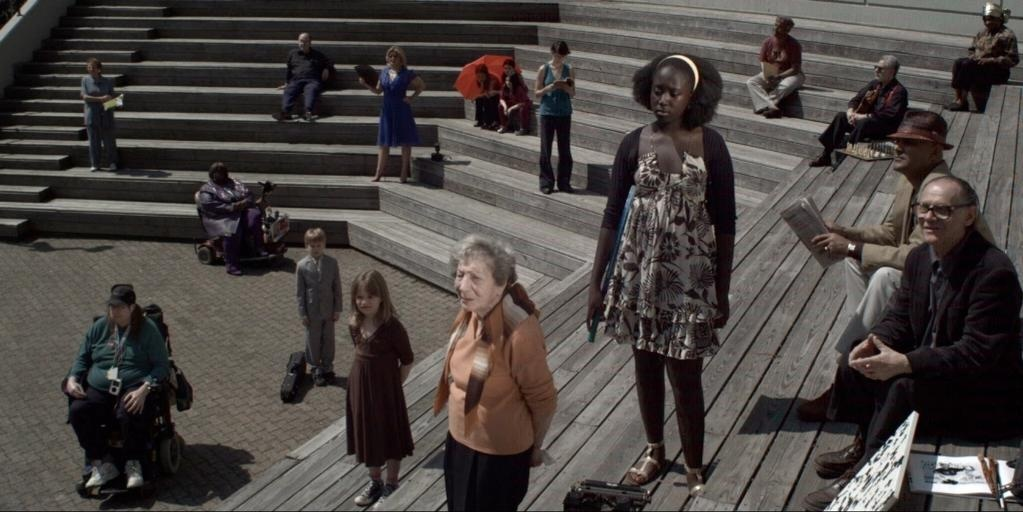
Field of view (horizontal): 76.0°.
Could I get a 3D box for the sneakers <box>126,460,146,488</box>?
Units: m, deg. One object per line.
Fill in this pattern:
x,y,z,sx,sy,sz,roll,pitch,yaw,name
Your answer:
-5.113,2.938,8.882,0.211,0.162,0.410,-3,10,-31,sneakers

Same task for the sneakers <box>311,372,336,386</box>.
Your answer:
-3.048,1.989,10.595,0.312,0.214,0.219,-16,16,-10,sneakers

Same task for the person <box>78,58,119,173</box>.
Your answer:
-9.539,-3.196,15.149,0.681,2.508,0.736,-2,11,-30,person

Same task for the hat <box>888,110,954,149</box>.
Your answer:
4.497,-1.360,7.065,0.562,0.265,0.510,-11,26,-39,hat

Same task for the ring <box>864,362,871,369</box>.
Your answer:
3.503,1.066,6.412,0.050,0.051,0.004,4,10,4,ring

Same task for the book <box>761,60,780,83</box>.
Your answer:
5.456,-3.826,13.709,0.421,0.393,0.242,12,27,37,book

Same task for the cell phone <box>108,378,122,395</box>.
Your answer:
-5.329,1.747,8.784,0.162,0.202,0.055,9,-4,-4,cell phone

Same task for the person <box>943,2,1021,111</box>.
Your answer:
9.398,-3.933,12.985,1.431,2.213,0.751,-3,12,-34,person

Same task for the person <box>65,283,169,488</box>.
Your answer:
-5.376,1.782,8.880,1.248,2.783,0.589,3,10,-1,person

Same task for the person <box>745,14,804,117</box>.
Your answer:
5.608,-3.910,13.743,1.106,2.060,0.621,4,10,4,person

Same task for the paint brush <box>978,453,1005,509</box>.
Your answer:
4.640,2.137,6.272,0.158,0.085,0.466,-16,41,20,paint brush

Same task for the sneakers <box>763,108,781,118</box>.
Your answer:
5.459,-2.940,13.633,0.227,0.088,0.216,-10,17,-27,sneakers

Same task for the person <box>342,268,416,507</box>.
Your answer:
-1.583,1.570,7.877,0.776,2.656,0.784,1,10,-14,person

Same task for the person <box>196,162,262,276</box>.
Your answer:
-5.748,-0.752,13.427,1.170,2.178,0.749,10,11,34,person

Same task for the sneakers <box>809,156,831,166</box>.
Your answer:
5.629,-1.679,11.901,0.438,0.155,0.136,-5,33,6,sneakers

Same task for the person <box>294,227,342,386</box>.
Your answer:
-3.105,0.820,10.562,0.644,2.472,0.473,1,10,-17,person

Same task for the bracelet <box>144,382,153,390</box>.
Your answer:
-4.914,1.748,8.835,0.100,0.095,0.029,-28,21,2,bracelet

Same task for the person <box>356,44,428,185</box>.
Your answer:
-2.621,-3.106,14.706,1.142,2.907,1.163,2,10,-11,person

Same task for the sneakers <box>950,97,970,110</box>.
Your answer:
8.839,-2.939,12.880,0.395,0.221,0.256,4,9,9,sneakers

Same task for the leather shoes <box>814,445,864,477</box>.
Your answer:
3.457,2.075,6.681,0.610,0.217,0.206,-4,39,1,leather shoes

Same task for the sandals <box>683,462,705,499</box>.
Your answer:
1.889,2.288,6.758,0.130,0.153,0.386,-2,0,5,sandals

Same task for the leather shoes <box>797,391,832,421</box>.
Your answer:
3.339,1.639,7.154,0.514,0.198,0.176,-10,37,3,leather shoes

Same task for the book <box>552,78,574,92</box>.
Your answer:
1.073,-3.341,12.897,0.317,0.067,0.299,8,-9,-42,book

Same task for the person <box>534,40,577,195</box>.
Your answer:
0.925,-2.742,13.319,0.899,2.981,0.766,4,10,6,person

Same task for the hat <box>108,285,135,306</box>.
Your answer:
-5.248,0.516,8.897,0.296,0.209,0.380,12,1,-5,hat

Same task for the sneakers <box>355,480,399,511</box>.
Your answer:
-1.609,2.803,7.775,0.496,0.263,0.234,1,9,-13,sneakers
